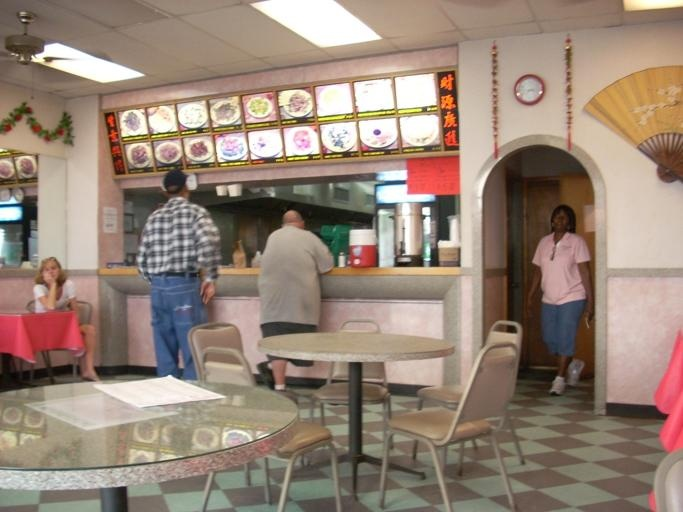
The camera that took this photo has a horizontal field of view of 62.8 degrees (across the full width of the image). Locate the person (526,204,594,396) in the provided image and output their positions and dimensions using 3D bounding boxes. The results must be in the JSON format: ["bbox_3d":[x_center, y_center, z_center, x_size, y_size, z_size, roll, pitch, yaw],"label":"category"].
[{"bbox_3d":[2.359,0.451,5.971,0.509,1.990,0.488,0,1,5],"label":"person"}]

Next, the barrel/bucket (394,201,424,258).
[{"bbox_3d":[0.698,-0.261,5.798,0.275,0.549,0.144,-1,1,0],"label":"barrel/bucket"}]

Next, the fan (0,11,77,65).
[{"bbox_3d":[-2.893,-1.945,5.110,0.424,0.388,0.475,0,1,5],"label":"fan"}]

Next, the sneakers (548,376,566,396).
[{"bbox_3d":[2.261,1.350,5.870,0.147,0.197,0.206,0,1,17],"label":"sneakers"}]

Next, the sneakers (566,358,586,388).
[{"bbox_3d":[2.681,1.326,6.351,0.199,0.361,0.147,2,23,-1],"label":"sneakers"}]

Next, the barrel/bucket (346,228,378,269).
[{"bbox_3d":[0.210,-0.071,5.663,0.265,0.387,0.186,0,1,5],"label":"barrel/bucket"}]

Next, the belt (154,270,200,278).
[{"bbox_3d":[-1.450,0.170,4.913,0.385,0.054,0.159,-1,1,-12],"label":"belt"}]
